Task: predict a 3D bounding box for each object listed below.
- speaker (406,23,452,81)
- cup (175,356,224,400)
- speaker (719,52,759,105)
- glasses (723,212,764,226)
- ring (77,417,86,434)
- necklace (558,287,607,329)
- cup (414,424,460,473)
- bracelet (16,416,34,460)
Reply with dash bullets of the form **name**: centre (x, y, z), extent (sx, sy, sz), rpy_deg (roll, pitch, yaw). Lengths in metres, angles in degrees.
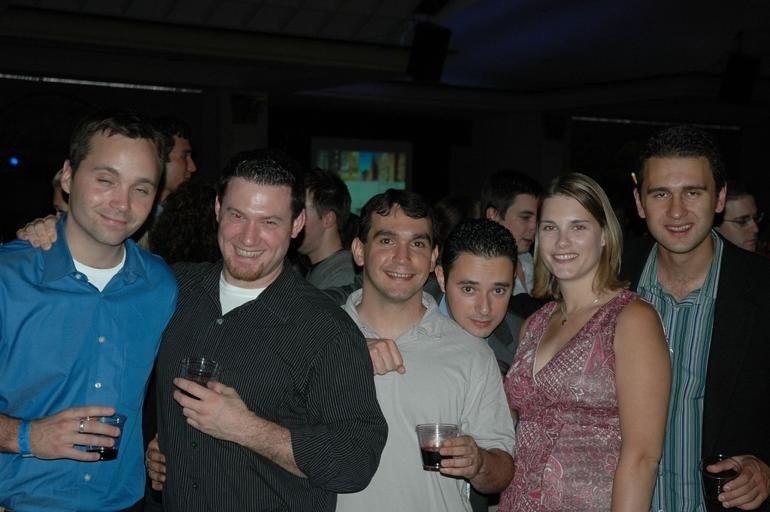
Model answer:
- **speaker**: centre (0.556, -2.570, 7.575), extent (0.454, 0.637, 0.407), rpy_deg (2, 5, -10)
- **cup**: centre (-0.853, 0.562, 2.758), extent (0.157, 0.163, 0.182), rpy_deg (16, -23, -6)
- **speaker**: centre (5.060, -2.540, 8.463), extent (0.428, 0.610, 0.564), rpy_deg (5, 5, 24)
- **glasses**: centre (2.938, -0.283, 4.828), extent (0.178, 0.054, 0.185), rpy_deg (-5, 2, -35)
- **ring**: centre (-1.369, 0.766, 2.694), extent (0.044, 0.071, 0.013), rpy_deg (1, 6, -20)
- **necklace**: centre (1.023, 0.275, 3.147), extent (0.141, 0.181, 0.241), rpy_deg (28, 0, 1)
- **cup**: centre (0.247, 0.903, 2.825), extent (0.212, 0.195, 0.224), rpy_deg (1, -13, 0)
- **bracelet**: centre (-1.646, 0.842, 2.713), extent (0.031, 0.124, 0.128), rpy_deg (-6, -10, -16)
